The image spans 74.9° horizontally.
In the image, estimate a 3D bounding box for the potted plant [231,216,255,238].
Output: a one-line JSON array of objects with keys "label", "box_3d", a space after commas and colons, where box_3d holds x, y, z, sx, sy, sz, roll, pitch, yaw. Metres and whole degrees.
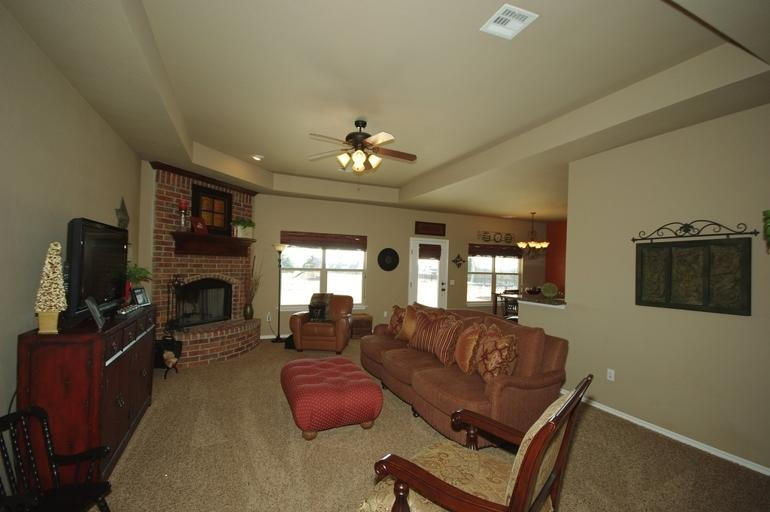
[{"label": "potted plant", "box_3d": [-2.295, -0.439, 8.182, 0.323, 0.339, 0.332, 1, -10, 0]}]

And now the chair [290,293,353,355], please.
[{"label": "chair", "box_3d": [-0.974, 1.138, 8.185, 0.892, 0.909, 0.852, -3, -13, 11]}]

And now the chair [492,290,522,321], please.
[{"label": "chair", "box_3d": [2.361, 0.949, 9.732, 0.445, 0.602, 0.612, 2, -4, -15]}]

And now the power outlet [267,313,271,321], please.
[{"label": "power outlet", "box_3d": [-2.047, 1.062, 8.841, 0.063, 0.124, 0.044, -1, -5, -5]}]

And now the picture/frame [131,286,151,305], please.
[{"label": "picture/frame", "box_3d": [-2.831, 0.459, 5.781, 0.081, 0.263, 0.224, -24, -10, 19]}]

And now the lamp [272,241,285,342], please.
[{"label": "lamp", "box_3d": [-1.843, 0.680, 8.758, 0.152, 1.557, 0.562, 2, -2, -12]}]

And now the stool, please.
[{"label": "stool", "box_3d": [-0.598, 1.463, 5.360, 0.697, 0.377, 0.896, 1, 3, -22]}]

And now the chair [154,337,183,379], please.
[{"label": "chair", "box_3d": [-2.872, 1.307, 6.602, 0.427, 0.555, 0.425, -4, -9, 29]}]

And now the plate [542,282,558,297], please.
[{"label": "plate", "box_3d": [2.207, 0.452, 6.702, 0.156, 0.173, 0.252, 1, -2, 27]}]

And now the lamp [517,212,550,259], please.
[{"label": "lamp", "box_3d": [3.277, -0.418, 11.082, 0.690, 0.867, 1.835, 1, -2, 17]}]

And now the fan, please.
[{"label": "fan", "box_3d": [-0.267, -1.326, 6.005, 0.724, 0.296, 0.798, 1, -5, 27]}]

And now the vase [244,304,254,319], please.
[{"label": "vase", "box_3d": [-2.232, 0.911, 8.226, 0.209, 0.270, 0.214, 0, -6, -7]}]

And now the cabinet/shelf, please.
[{"label": "cabinet/shelf", "box_3d": [-2.718, 1.305, 4.471, 0.592, 1.344, 1.584, 0, 4, -12]}]

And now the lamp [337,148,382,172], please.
[{"label": "lamp", "box_3d": [-0.346, -1.153, 6.095, 0.398, 0.164, 0.377, -7, 18, -29]}]

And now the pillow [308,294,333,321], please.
[{"label": "pillow", "box_3d": [-1.059, 0.828, 8.169, 0.330, 0.403, 0.119, -1, -32, 1]}]
